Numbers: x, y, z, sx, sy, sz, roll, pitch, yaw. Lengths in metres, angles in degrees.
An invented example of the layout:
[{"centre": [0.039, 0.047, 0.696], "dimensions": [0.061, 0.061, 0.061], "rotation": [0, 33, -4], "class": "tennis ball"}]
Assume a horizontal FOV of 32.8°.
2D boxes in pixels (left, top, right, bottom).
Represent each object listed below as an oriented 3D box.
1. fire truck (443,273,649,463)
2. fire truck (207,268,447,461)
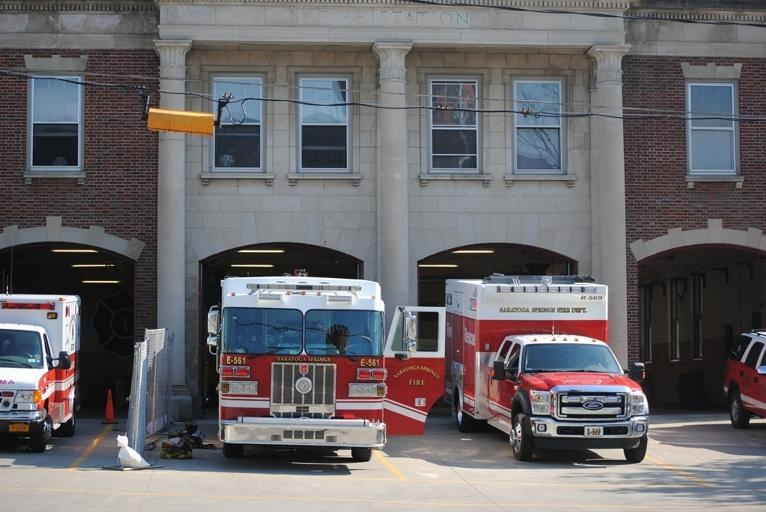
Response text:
[{"centre": [4.160, 2.902, 35.420], "dimensions": [3.315, 3.329, 6.507], "rotation": [1, -4, -8], "class": "fire truck"}, {"centre": [-1.973, 2.835, 32.505], "dimensions": [4.714, 4.703, 2.015], "rotation": [0, -3, -2], "class": "fire truck"}]
